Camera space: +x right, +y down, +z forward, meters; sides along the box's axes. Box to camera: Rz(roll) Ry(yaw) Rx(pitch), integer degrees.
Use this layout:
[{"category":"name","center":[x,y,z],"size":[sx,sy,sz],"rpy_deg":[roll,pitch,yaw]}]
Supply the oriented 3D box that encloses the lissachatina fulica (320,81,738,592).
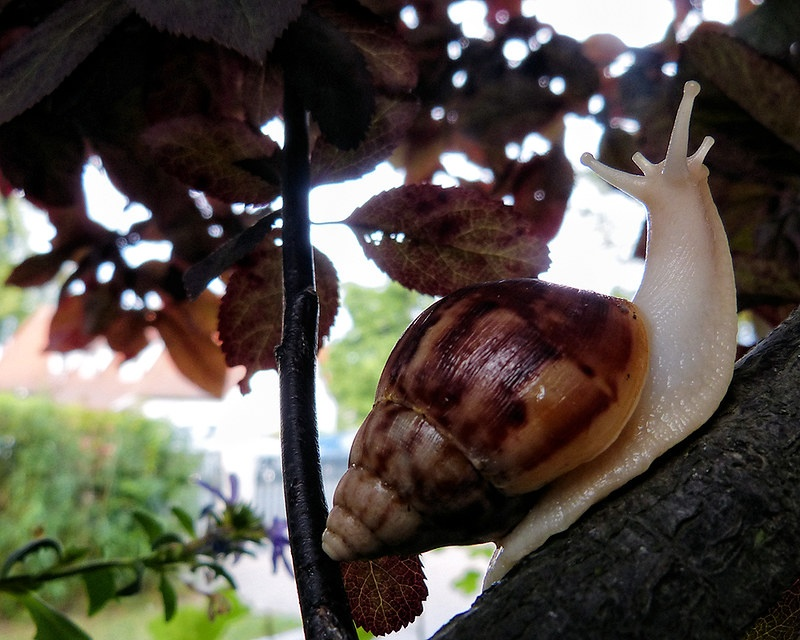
[{"category":"lissachatina fulica","center":[0.128,0.044,0.830],"size":[0.504,0.273,0.224],"rpy_deg":[-39,23,-15]}]
